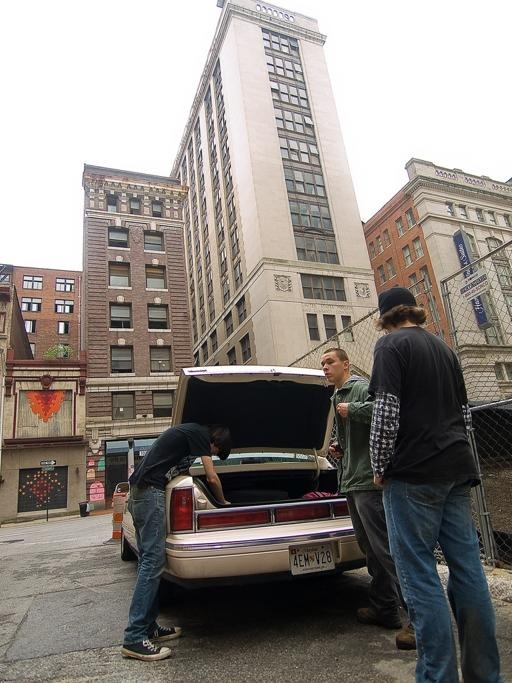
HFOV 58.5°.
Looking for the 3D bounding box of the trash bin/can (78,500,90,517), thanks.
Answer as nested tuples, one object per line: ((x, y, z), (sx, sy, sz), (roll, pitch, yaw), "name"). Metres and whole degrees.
((-8.493, 8.278, 22.476), (0.408, 0.666, 1.349), (-2, -14, -25), "trash bin/can")

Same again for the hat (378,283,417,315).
((0.772, -0.229, 2.509), (0.159, 0.138, 0.172), (-1, 0, 4), "hat")

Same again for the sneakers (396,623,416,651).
((0.827, 1.655, 2.578), (0.087, 0.114, 0.246), (1, -11, 9), "sneakers")

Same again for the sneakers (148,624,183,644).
((-0.589, 1.898, 2.975), (0.221, 0.092, 0.093), (3, -10, -25), "sneakers")

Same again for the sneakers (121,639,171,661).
((-0.640, 1.786, 2.680), (0.275, 0.117, 0.109), (-3, -21, 9), "sneakers")

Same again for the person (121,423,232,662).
((-0.578, 1.269, 3.133), (0.491, 1.371, 0.873), (-18, -16, 42), "person")
